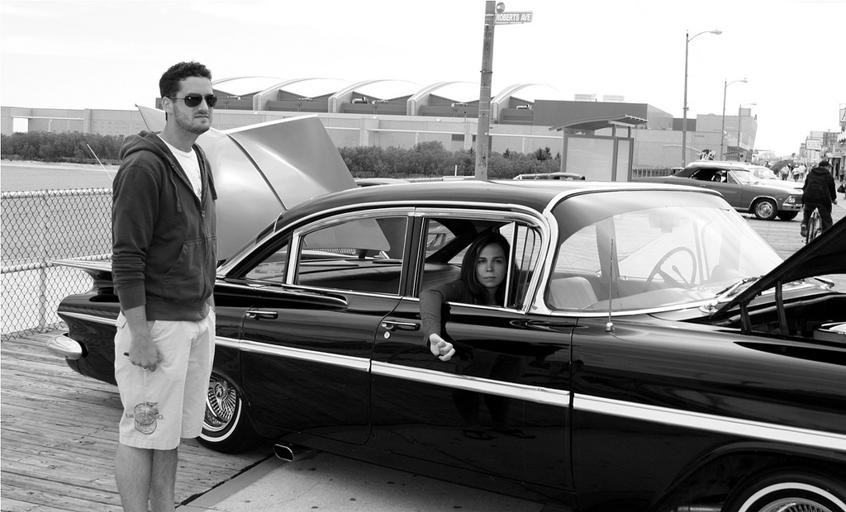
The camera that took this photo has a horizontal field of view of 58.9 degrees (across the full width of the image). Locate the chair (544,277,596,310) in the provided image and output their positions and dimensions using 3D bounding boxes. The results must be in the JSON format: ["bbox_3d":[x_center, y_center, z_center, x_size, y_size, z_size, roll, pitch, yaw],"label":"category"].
[{"bbox_3d":[1.027,0.255,5.217,0.324,0.202,0.140,-2,10,-17],"label":"chair"}]

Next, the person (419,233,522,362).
[{"bbox_3d":[0.342,0.322,5.484,0.348,0.432,0.886,8,12,39],"label":"person"}]
